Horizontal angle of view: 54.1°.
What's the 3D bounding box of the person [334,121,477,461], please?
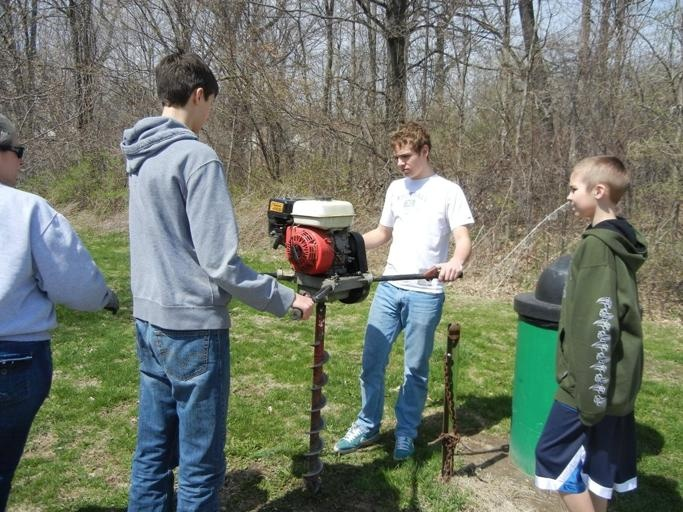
[{"bbox_3d":[0.633,0.333,6.399,1.116,3.212,0.776,3,8,14],"label":"person"}]
